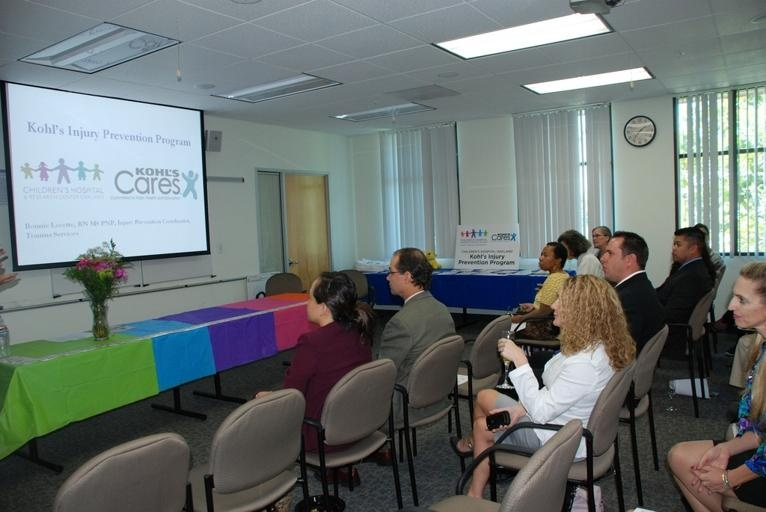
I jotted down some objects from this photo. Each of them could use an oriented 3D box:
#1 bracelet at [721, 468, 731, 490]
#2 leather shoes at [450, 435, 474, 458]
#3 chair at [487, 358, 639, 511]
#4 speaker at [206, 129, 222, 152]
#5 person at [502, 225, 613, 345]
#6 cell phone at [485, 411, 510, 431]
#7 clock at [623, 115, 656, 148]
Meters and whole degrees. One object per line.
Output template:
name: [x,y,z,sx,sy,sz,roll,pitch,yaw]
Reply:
bracelet: [2.006,1.303,3.071,0.046,0.121,0.029,3,8,45]
leather shoes: [0.596,1.461,4.114,0.265,0.121,0.092,5,7,44]
chair: [1.192,1.019,3.635,0.933,1.340,0.919,0,-1,31]
speaker: [-2.473,-1.695,7.706,0.169,0.323,0.320,6,6,27]
person: [1.817,0.288,6.150,1.527,1.755,1.081,0,-1,21]
cell phone: [0.760,1.073,3.443,0.162,0.093,0.040,-17,-2,38]
clock: [3.759,-1.829,7.713,0.424,0.438,0.420,4,0,26]
